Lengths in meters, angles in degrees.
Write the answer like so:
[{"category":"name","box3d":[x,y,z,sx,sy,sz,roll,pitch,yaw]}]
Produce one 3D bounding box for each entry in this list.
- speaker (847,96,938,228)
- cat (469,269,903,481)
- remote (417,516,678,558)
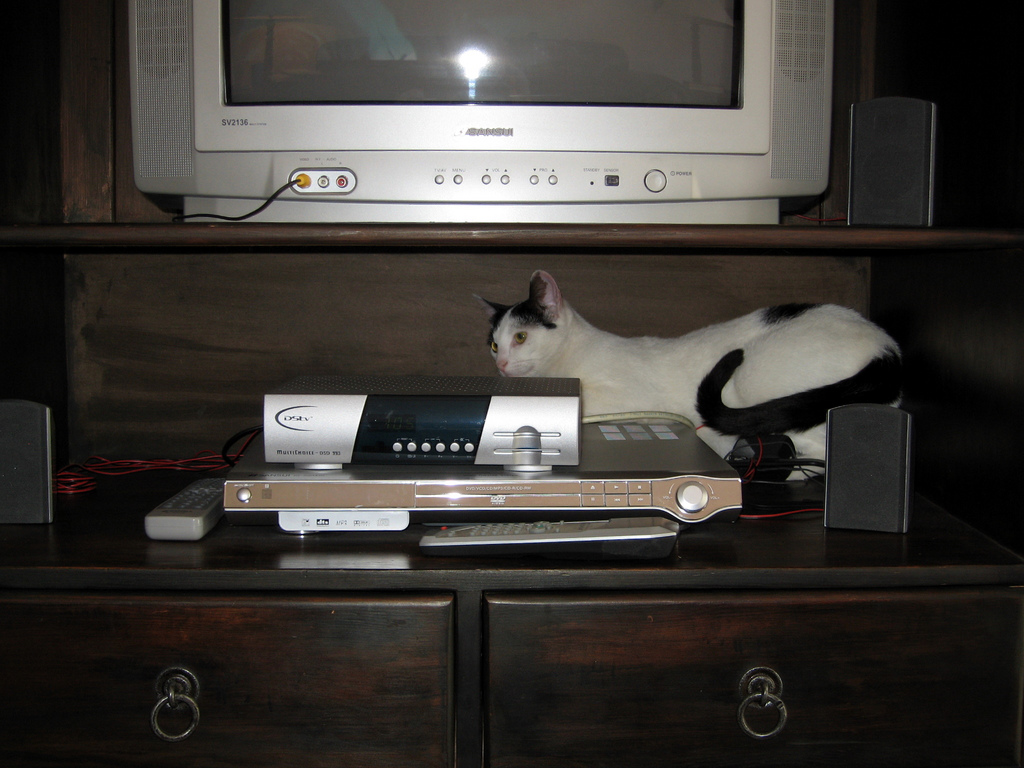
[{"category":"speaker","box3d":[0.527,-0.307,1.400,0.101,0.106,0.170,1,-68,-5]},{"category":"cat","box3d":[0.151,-0.010,1.504,0.832,0.241,0.290,-1,-84,10]},{"category":"remote","box3d":[0.048,0.184,1.229,0.252,0.097,0.025,1,-91,4]}]
